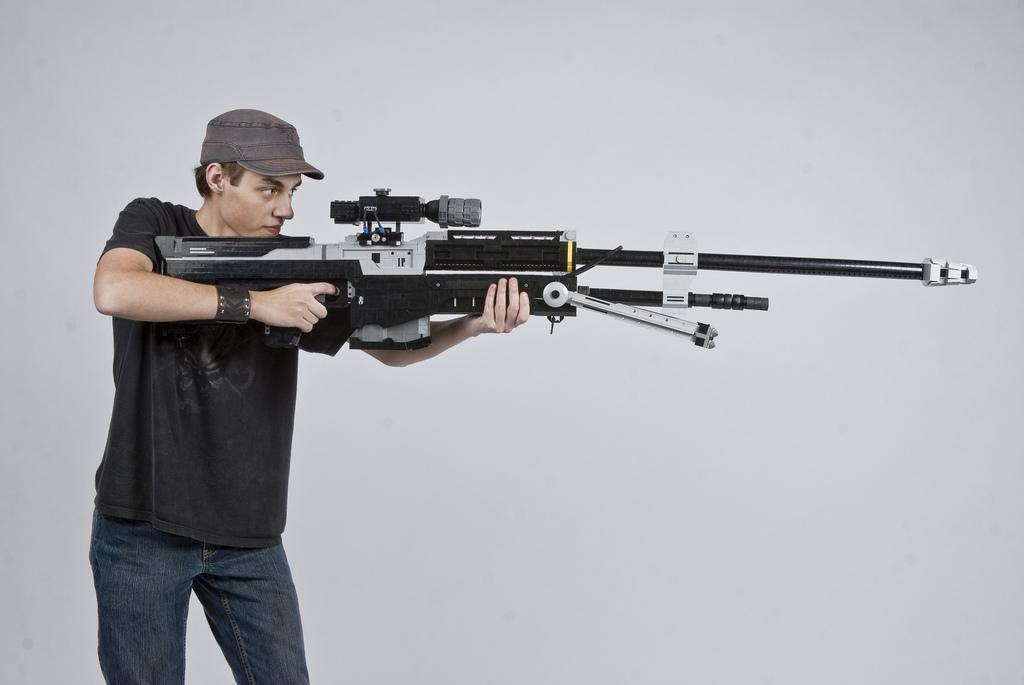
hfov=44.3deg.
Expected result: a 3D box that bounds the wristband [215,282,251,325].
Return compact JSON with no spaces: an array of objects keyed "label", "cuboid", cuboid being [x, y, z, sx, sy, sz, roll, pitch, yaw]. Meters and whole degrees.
[{"label":"wristband","cuboid":[-1.051,-0.153,4.750,0.130,0.144,0.120,5,-4,-12]}]
